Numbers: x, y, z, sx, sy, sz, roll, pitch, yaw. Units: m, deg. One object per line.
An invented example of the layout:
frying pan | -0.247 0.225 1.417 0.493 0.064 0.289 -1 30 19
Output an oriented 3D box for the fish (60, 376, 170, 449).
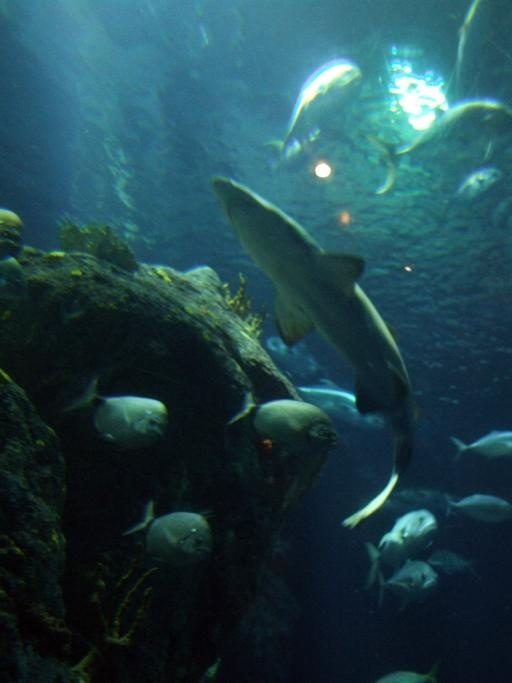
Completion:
fish | -1.382 0.712 7.036 0.953 0.451 0.509 6 33 -13

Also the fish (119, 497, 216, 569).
fish | -0.821 1.897 6.951 0.733 0.541 0.326 -2 4 1

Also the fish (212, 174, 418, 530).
fish | 0.622 0.195 6.663 1.771 3.356 0.763 -2 4 1
